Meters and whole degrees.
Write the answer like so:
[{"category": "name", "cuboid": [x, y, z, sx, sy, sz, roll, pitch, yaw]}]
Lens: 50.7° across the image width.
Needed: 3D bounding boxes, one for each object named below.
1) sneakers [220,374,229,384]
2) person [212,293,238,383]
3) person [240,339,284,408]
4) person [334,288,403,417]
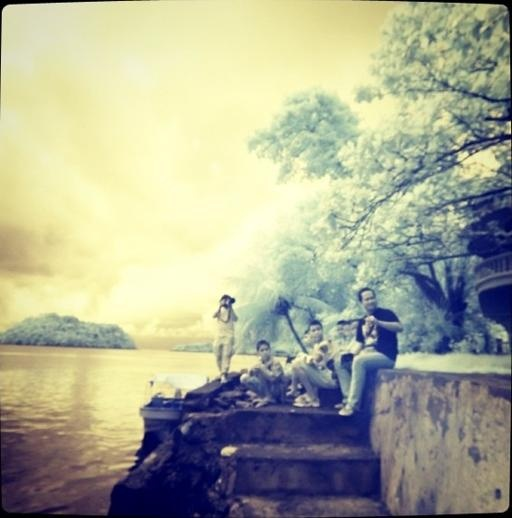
[{"category": "sneakers", "cuboid": [-0.558, 2.140, 9.644, 0.098, 0.159, 0.102, 16, -53, -20]}, {"category": "person", "cuboid": [-0.567, 1.424, 9.742, 0.421, 1.500, 0.656, 2, -11, -4]}, {"category": "person", "cuboid": [0.120, 1.776, 8.457, 0.679, 1.020, 0.431, 2, -11, 2]}, {"category": "person", "cuboid": [1.566, 1.309, 7.583, 0.475, 1.768, 1.212, 9, -13, -35]}]
